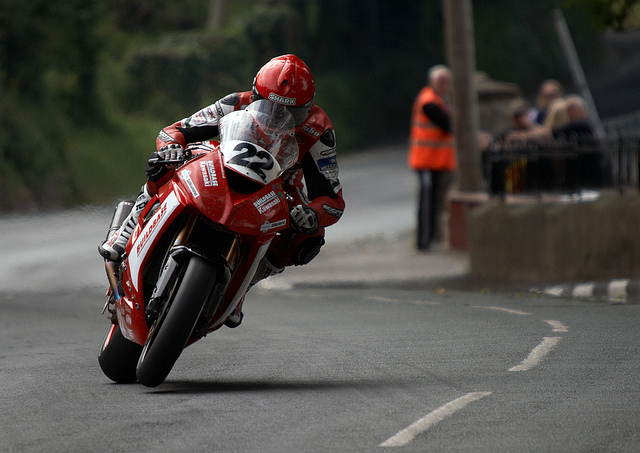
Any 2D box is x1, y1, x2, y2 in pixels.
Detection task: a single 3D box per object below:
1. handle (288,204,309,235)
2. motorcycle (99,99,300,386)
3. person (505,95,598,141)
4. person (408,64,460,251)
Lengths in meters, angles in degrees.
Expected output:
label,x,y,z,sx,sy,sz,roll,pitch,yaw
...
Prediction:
label,x,y,z,sx,sy,sz,roll,pitch,yaw
handle,-0.127,-0.050,7.052,0.156,0.207,0.082,32,13,26
motorcycle,-0.847,0.099,6.716,1.311,2.025,0.669,0,6,-3
person,3.722,-1.738,14.306,1.382,0.448,1.047,6,42,50
person,1.711,-0.991,14.045,0.683,2.755,0.545,1,6,5
